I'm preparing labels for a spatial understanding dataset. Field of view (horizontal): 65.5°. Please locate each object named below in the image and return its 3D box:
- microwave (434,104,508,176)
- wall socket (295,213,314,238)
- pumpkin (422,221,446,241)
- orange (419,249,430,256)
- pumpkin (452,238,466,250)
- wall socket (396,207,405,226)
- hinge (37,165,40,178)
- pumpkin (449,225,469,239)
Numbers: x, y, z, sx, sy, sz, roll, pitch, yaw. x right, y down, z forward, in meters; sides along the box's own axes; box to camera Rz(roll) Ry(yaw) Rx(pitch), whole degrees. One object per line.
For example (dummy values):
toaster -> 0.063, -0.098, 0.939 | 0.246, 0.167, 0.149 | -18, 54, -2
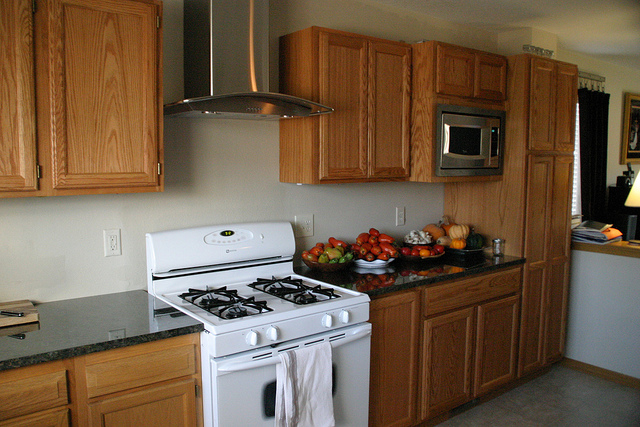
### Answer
microwave -> 1.012, -0.534, 3.773 | 0.735, 0.482, 0.429 | -4, 7, -34
wall socket -> -0.115, 0.082, 3.487 | 0.178, 0.163, 0.022 | -2, 3, -34
pumpkin -> 0.906, 0.131, 3.972 | 0.144, 0.171, 0.132 | 20, 0, -13
orange -> 0.757, 0.278, 3.576 | 0.049, 0.044, 0.048 | -9, 10, -21
pumpkin -> 1.042, 0.225, 3.730 | 0.079, 0.069, 0.079 | 2, 8, 30
wall socket -> 0.641, 0.022, 3.951 | 0.097, 0.147, 0.015 | -9, 10, -40
hinge -> -1.389, -0.211, 2.450 | 0.004, 0.055, 0.008 | 3, 10, 41
pumpkin -> 1.081, 0.142, 3.877 | 0.119, 0.108, 0.113 | -5, 15, -12
